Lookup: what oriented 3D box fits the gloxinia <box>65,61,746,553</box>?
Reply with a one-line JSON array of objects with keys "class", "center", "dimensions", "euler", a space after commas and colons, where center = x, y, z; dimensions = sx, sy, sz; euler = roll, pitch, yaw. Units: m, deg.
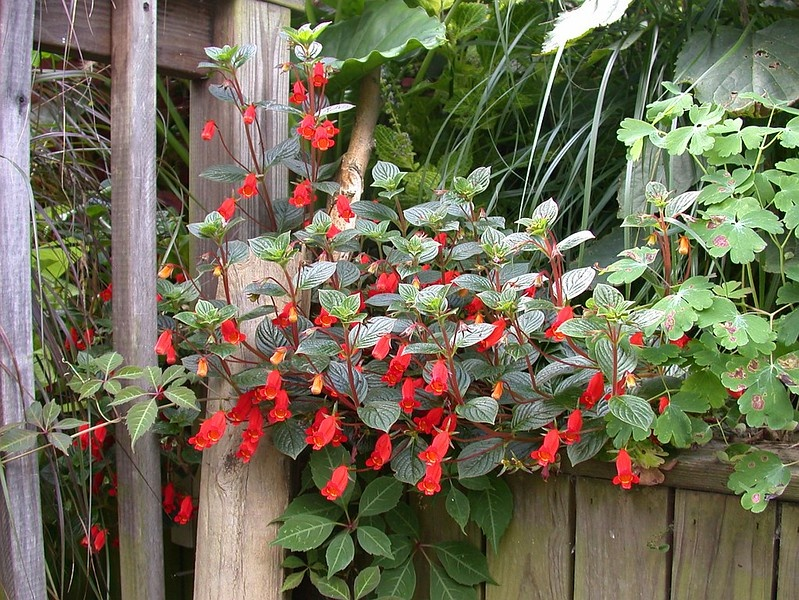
[{"class": "gloxinia", "center": [-0.002, 0.233, 2.392], "dimensions": [1.453, 0.662, 1.093], "euler": [18, 48, 13]}]
